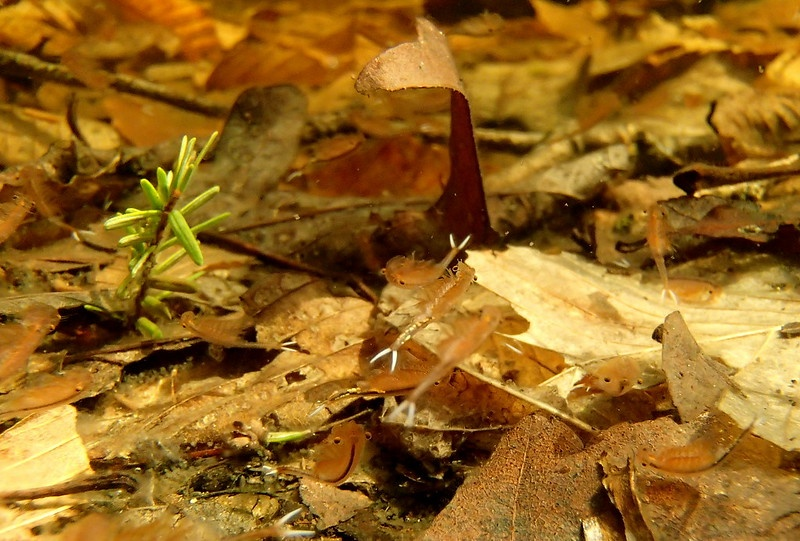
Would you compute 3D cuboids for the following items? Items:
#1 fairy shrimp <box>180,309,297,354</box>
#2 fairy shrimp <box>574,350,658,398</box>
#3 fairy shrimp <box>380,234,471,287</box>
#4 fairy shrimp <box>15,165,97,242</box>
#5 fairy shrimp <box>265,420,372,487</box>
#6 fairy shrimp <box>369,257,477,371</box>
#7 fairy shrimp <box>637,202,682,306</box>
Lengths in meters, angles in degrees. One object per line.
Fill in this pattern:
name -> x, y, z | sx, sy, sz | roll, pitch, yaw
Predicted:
fairy shrimp -> -0.494, 0.182, 2.508 | 0.325, 0.055, 0.141 | 13, 37, -7
fairy shrimp -> 0.641, 0.298, 2.388 | 0.169, 0.053, 0.138 | 10, 61, 8
fairy shrimp -> 0.058, -0.002, 2.817 | 0.202, 0.374, 0.154 | -9, 99, 5
fairy shrimp -> -1.156, -0.234, 2.708 | 0.188, 0.183, 0.212 | 2, 66, 9
fairy shrimp -> -0.226, 0.525, 2.284 | 0.256, 0.060, 0.149 | -18, 75, -2
fairy shrimp -> 0.090, 0.031, 2.610 | 0.099, 0.202, 0.335 | -38, 54, -16
fairy shrimp -> 0.892, -0.076, 2.848 | 0.108, 0.450, 0.062 | -12, 56, 11
